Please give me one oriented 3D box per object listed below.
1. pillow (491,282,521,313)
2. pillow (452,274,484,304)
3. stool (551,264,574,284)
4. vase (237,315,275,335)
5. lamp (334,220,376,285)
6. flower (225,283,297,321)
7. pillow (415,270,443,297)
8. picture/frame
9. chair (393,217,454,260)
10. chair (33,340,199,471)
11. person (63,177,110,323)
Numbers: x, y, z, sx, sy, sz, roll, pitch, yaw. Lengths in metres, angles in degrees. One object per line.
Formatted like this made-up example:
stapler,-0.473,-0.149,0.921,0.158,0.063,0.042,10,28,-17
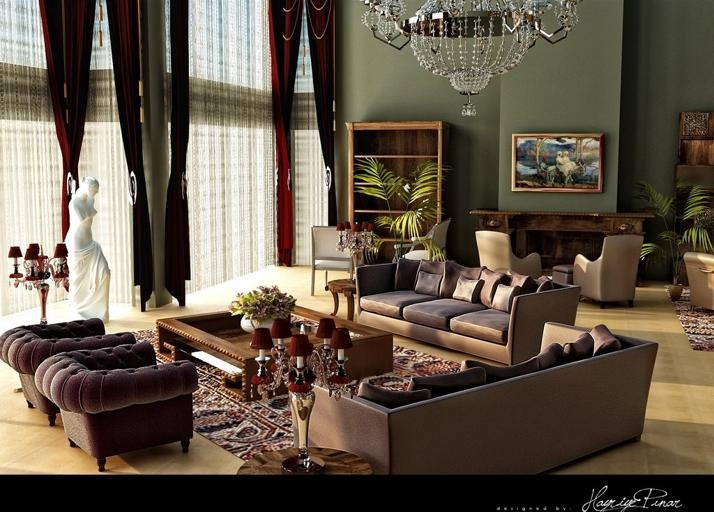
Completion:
pillow,1.788,0.496,6.252,0.153,0.292,0.334,39,-16,-19
pillow,1.461,0.430,6.850,0.133,0.302,0.335,4,4,-34
stool,3.512,0.300,8.956,0.292,0.218,0.288,-7,10,-34
vase,-1.113,0.748,5.758,0.370,0.186,0.378,1,3,3
lamp,0.026,-0.097,8.359,0.757,1.147,0.864,-3,7,-14
flower,-1.068,0.510,5.765,0.474,0.270,0.457,-2,3,-45
pillow,0.975,0.377,7.269,0.331,0.318,0.090,6,-15,44
picture/frame,3.905,-1.834,10.045,1.161,0.852,0.050,1,3,13
chair,1.190,-0.412,9.657,0.877,1.275,0.775,2,7,23
chair,-1.884,0.872,4.086,0.908,0.786,1.084,-6,10,-37
person,-3.716,-0.086,7.288,0.637,1.972,0.708,6,-8,-25
